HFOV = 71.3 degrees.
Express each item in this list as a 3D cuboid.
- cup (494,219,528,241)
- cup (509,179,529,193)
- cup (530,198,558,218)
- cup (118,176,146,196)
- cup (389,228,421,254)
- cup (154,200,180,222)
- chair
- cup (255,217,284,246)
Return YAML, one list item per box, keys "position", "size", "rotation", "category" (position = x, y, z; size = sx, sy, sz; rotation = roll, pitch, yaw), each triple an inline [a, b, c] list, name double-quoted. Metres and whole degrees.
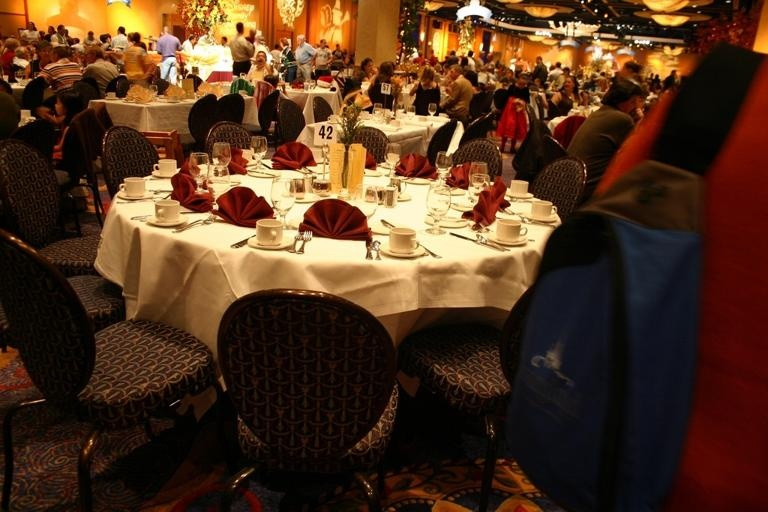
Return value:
- position: [0.502, -0.097, 2.077]
  size: [0.113, 0.082, 0.088]
  rotation: [4, 7, -18]
  category: "cup"
- position: [0.706, -0.356, 2.789]
  size: [0.077, 0.059, 0.077]
  rotation: [4, 16, -1]
  category: "cup"
- position: [0.726, -0.213, 2.420]
  size: [0.117, 0.083, 0.088]
  rotation: [3, 10, -25]
  category: "cup"
- position: [-1.067, -0.300, 2.283]
  size: [0.100, 0.077, 0.076]
  rotation: [-10, 34, -34]
  category: "cup"
- position: [0.064, -0.048, 1.834]
  size: [0.065, 0.064, 0.099]
  rotation: [-1, 19, -14]
  category: "cup"
- position: [-0.799, -0.166, 1.991]
  size: [0.059, 0.059, 0.092]
  rotation: [4, 15, 6]
  category: "cup"
- position: [-0.282, 0.119, 2.121]
  size: [1.781, 0.582, 0.716]
  rotation: [7, 28, -1]
  category: "chair"
- position: [-0.390, -0.081, 1.835]
  size: [0.088, 0.066, 0.113]
  rotation: [1, 29, -12]
  category: "cup"
